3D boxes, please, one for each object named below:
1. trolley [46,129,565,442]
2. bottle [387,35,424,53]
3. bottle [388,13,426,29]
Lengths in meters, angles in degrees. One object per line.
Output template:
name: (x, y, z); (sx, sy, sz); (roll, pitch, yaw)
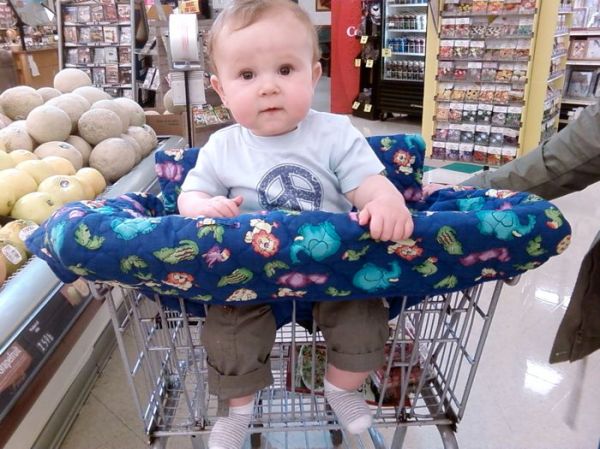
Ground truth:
trolley: (-0.005, 0.106, 1.311); (1.243, 0.598, 0.909); (-2, 22, -2)
bottle: (1.531, -2.547, 6.185); (0.312, 0.146, 0.412); (6, 19, 13)
bottle: (1.510, -2.833, 6.097); (0.339, 0.122, 0.332); (0, 20, 0)
